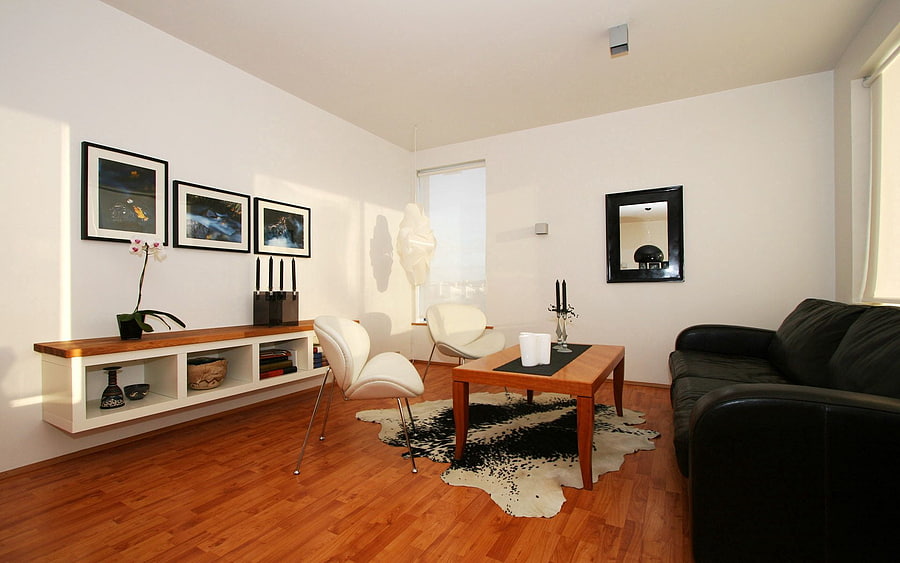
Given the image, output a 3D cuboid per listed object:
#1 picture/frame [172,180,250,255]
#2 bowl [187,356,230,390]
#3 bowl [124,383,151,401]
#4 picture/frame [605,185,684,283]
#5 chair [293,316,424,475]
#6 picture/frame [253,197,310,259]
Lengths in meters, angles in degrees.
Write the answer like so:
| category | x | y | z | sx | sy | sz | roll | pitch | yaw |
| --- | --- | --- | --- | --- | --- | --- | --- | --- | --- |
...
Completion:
| category | x | y | z | sx | sy | sz | roll | pitch | yaw |
| --- | --- | --- | --- | --- | --- | --- | --- | --- | --- |
| picture/frame | -2.397 | -0.623 | 5.485 | 0.056 | 0.652 | 0.815 | 0 | -1 | 40 |
| bowl | -2.195 | 0.846 | 5.076 | 0.309 | 0.212 | 0.271 | -12 | -13 | 42 |
| bowl | -2.743 | 0.984 | 4.869 | 0.148 | 0.092 | 0.148 | -3 | -15 | -1 |
| picture/frame | 2.235 | -0.507 | 6.413 | 0.862 | 1.015 | 0.066 | -4 | 1 | 23 |
| chair | -0.726 | 0.893 | 4.726 | 1.307 | 1.373 | 1.116 | 0 | 0 | 5 |
| picture/frame | -1.857 | -0.566 | 6.030 | 0.079 | 0.613 | 0.745 | 1 | 1 | 40 |
